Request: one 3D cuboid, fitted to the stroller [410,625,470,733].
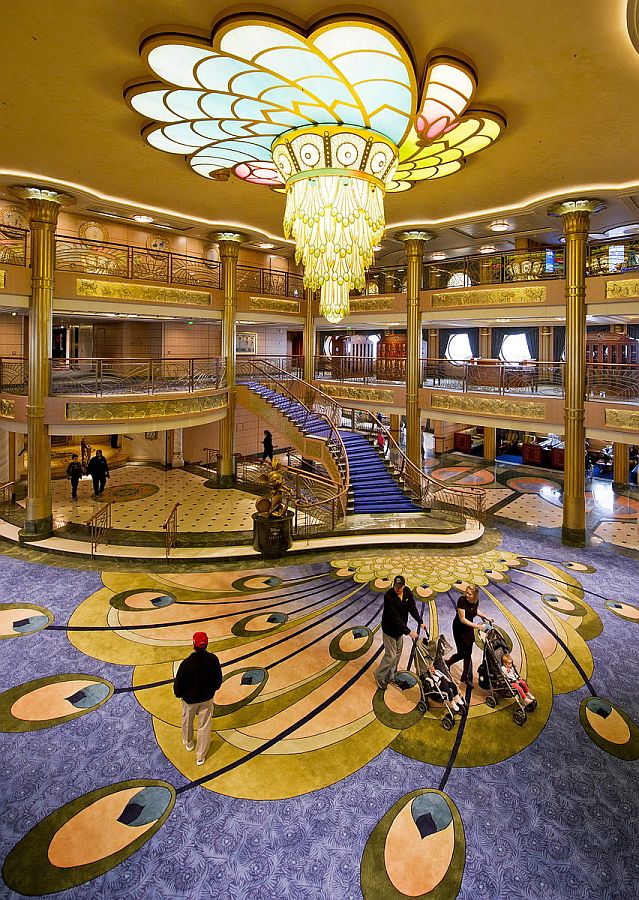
[{"bbox_3d":[1.302,2.572,6.042,0.741,1.099,0.508,-6,-9,42],"label":"stroller"}]

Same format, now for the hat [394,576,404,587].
[{"bbox_3d":[0.867,1.454,5.974,0.099,0.119,0.143,1,-19,6],"label":"hat"}]

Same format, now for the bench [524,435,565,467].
[{"bbox_3d":[9.745,0.107,23.038,1.439,0.755,1.410,-11,16,-43],"label":"bench"}]

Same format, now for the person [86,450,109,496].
[{"bbox_3d":[-6.444,0.640,15.686,0.489,1.288,1.345,-2,8,-24],"label":"person"}]

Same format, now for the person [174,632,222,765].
[{"bbox_3d":[-1.180,2.271,5.172,0.407,1.333,0.548,-1,8,-16],"label":"person"}]

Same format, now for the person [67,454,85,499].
[{"bbox_3d":[-7.085,0.685,15.667,0.363,1.203,1.776,-2,8,-25],"label":"person"}]

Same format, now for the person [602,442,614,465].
[{"bbox_3d":[11.748,0.156,22.211,0.381,0.738,2.070,5,9,30],"label":"person"}]
